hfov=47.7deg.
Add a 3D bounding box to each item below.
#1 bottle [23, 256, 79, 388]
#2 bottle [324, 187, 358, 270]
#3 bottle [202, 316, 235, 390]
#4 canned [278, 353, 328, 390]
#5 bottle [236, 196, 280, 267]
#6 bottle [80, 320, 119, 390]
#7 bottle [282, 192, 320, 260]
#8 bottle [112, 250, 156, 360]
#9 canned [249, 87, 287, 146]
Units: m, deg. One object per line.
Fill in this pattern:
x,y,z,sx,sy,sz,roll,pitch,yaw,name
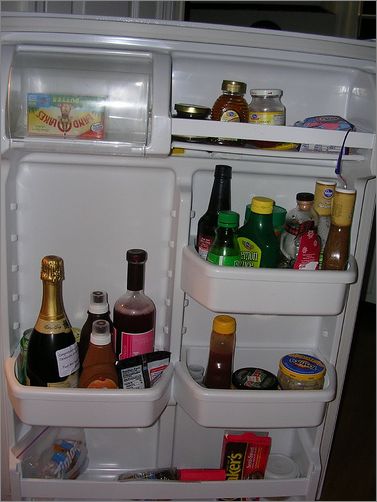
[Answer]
-0.259,0.164,0.799,0.097,0.222,0.075,-3,19,-17,bottle
0.282,-0.040,0.793,0.047,0.155,0.127,9,19,19,bottle
0.063,0.212,0.856,0.058,0.170,0.075,4,18,4,bottle
0.231,0.249,0.869,0.071,0.070,0.072,0,13,-1,canned
0.131,-0.029,0.788,0.084,0.133,0.077,2,18,-1,bottle
-0.172,0.226,0.816,0.071,0.165,0.068,-1,-15,0,bottle
0.212,-0.044,0.827,0.058,0.136,0.056,2,18,-1,bottle
-0.110,0.105,0.881,0.086,0.247,0.146,1,18,-4,bottle
0.143,-0.249,0.793,0.064,0.093,0.067,6,17,40,canned
